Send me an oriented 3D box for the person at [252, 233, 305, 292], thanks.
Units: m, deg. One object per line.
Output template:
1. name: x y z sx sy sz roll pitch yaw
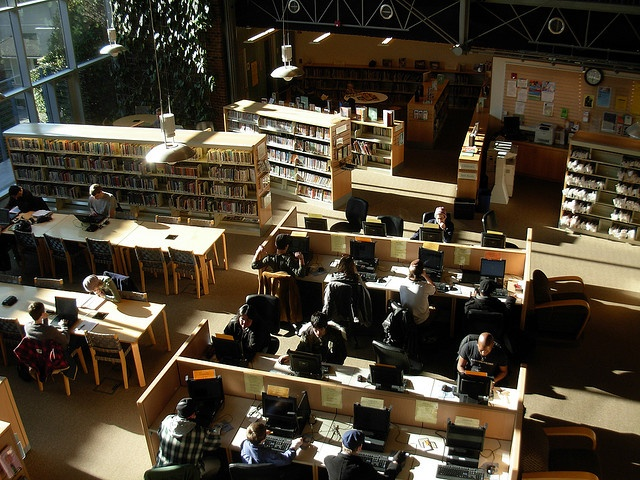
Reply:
1. person: -0.604 0.239 8.533 0.850 1.067 0.720 7 50 6

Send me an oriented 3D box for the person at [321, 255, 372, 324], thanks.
1. person: 0.434 0.805 7.951 0.741 1.086 0.631 6 40 14

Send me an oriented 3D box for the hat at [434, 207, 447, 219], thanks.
1. hat: 2.189 -0.482 9.218 0.179 0.224 0.249 5 29 19

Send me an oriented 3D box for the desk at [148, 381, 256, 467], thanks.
1. desk: -1.397 2.189 5.952 0.535 0.996 0.720 15 41 17

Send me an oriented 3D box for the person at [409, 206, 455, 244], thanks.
1. person: 2.075 -0.317 9.467 0.617 0.977 0.796 12 27 32

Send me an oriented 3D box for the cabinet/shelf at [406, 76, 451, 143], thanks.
1. cabinet/shelf: 3.515 -3.995 16.286 0.786 1.299 3.222 7 25 21

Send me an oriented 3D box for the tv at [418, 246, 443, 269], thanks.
1. tv: 1.800 0.295 8.257 0.299 0.316 0.160 3 26 25

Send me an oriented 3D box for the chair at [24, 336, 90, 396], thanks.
1. chair: -3.898 1.716 7.414 0.852 0.980 0.775 -4 23 -22

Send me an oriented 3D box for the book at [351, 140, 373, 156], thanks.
1. book: 1.096 -2.454 13.340 0.334 0.156 0.441 -7 23 -26

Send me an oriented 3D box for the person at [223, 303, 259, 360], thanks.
1. person: -1.083 1.303 7.020 0.427 0.821 0.559 7 20 19

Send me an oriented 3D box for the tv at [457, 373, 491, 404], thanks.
1. tv: 1.819 1.760 6.004 0.299 0.337 0.166 5 28 14

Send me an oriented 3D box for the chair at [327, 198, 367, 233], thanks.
1. chair: 0.642 -0.486 10.147 0.571 0.629 0.671 8 18 25

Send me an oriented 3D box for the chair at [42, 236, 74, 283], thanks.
1. chair: -4.843 0.265 9.731 0.547 0.904 0.659 2 20 2

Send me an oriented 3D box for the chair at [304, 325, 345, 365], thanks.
1. chair: 0.025 1.438 7.014 0.644 0.748 0.437 3 46 0

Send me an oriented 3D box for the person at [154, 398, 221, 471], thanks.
1. person: -1.520 2.256 5.784 0.447 0.943 0.547 21 48 5

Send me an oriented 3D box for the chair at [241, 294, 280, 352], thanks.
1. chair: -0.809 1.272 7.902 0.442 0.885 0.540 0 11 4

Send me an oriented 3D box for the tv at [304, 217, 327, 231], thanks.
1. tv: -0.082 -0.296 9.154 0.436 0.229 0.298 3 16 9

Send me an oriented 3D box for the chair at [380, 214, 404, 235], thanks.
1. chair: 1.411 -0.288 9.736 0.328 0.438 0.382 15 33 29

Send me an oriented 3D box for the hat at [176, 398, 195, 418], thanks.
1. hat: -1.500 1.866 5.691 0.153 0.221 0.216 8 37 5

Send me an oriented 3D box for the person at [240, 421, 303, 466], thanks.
1. person: -0.524 2.285 5.613 0.678 0.588 0.397 -3 16 -14

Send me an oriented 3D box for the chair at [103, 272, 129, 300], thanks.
1. chair: -3.280 0.699 8.218 0.404 0.169 0.339 23 44 4

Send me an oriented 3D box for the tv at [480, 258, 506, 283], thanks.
1. tv: 2.752 0.492 8.071 0.304 0.338 0.113 8 16 10

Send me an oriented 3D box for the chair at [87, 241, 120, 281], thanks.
1. chair: -4.068 0.253 9.573 0.448 0.762 0.553 -2 21 -17

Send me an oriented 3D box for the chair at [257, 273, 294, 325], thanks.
1. chair: -0.638 0.945 8.467 0.644 0.842 0.645 -4 6 -10

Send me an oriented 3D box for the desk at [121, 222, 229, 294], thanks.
1. desk: -2.634 -0.013 9.372 1.817 0.960 1.303 8 43 13

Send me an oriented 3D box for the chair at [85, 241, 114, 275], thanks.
1. chair: -4.096 0.311 9.419 0.369 0.697 0.485 3 34 2

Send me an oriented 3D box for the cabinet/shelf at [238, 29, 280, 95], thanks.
1. cabinet/shelf: -1.971 -5.938 17.323 0.833 2.235 2.333 6 27 28

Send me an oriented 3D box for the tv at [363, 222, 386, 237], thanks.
1. tv: 0.934 -0.186 8.805 0.410 0.235 0.303 6 2 13

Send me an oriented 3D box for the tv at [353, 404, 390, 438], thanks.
1. tv: 0.617 2.091 6.058 0.433 0.373 0.444 5 8 8

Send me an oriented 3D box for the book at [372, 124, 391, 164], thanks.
1. book: 1.615 -2.572 13.241 0.756 0.803 0.249 13 20 38

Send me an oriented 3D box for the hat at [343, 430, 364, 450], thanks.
1. hat: 0.345 2.091 5.295 0.195 0.176 0.155 1 16 2

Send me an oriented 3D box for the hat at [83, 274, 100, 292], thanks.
1. hat: -3.583 0.652 7.951 0.200 0.272 0.275 0 55 3

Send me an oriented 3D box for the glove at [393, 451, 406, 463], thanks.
1. glove: 0.884 2.409 5.594 0.102 0.037 0.104 39 61 9

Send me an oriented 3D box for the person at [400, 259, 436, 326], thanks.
1. person: 1.488 0.808 7.676 0.474 1.215 0.726 10 49 17

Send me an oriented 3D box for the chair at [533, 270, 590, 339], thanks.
1. chair: 3.897 0.999 8.175 0.860 0.913 0.822 7 30 30

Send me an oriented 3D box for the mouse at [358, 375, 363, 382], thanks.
1. mouse: 0.513 1.775 6.457 0.038 0.065 0.066 7 43 26

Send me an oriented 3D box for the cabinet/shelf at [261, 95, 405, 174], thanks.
1. cabinet/shelf: 0.272 -2.560 12.633 2.665 1.295 0.735 21 42 28

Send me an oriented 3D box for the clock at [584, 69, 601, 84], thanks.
1. clock: 6.335 -3.801 11.749 0.371 0.384 0.189 14 20 38

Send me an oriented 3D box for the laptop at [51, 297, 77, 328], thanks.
1. laptop: -3.739 1.050 7.363 0.356 0.330 0.314 10 21 10

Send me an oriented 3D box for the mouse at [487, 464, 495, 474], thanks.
1. mouse: 1.852 2.492 5.476 0.086 0.041 0.115 7 17 20

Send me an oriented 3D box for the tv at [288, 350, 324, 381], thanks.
1. tv: -0.192 1.597 6.385 0.290 0.307 0.168 9 49 15

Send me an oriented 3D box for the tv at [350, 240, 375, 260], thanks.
1. tv: 0.722 0.172 8.673 0.469 0.306 0.335 5 7 6

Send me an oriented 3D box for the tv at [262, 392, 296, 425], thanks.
1. tv: -0.500 2.054 5.942 0.411 0.419 0.240 4 22 8

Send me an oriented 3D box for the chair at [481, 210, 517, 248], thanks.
1. chair: 3.379 -0.089 9.647 0.620 0.827 0.826 3 21 19
